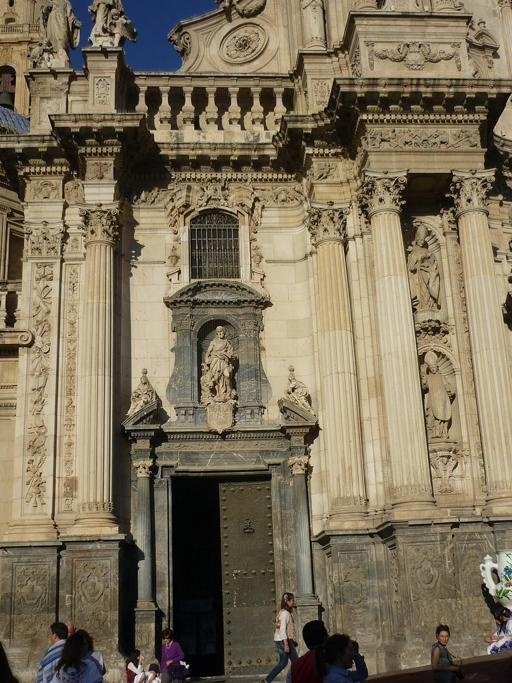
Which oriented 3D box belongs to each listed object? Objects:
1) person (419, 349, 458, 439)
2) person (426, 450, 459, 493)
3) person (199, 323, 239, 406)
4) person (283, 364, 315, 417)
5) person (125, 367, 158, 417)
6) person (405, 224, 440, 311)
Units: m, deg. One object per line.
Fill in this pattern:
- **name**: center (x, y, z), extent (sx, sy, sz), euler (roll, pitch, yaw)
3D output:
- **person**: center (4.176, 1.214, 20.541), extent (0.771, 2.101, 0.198), euler (-1, -18, -6)
- **person**: center (4.197, 2.876, 19.920), extent (0.652, 0.984, 0.159), euler (3, -19, -19)
- **person**: center (-0.858, 0.628, 20.987), extent (0.863, 1.834, 0.648), euler (0, -18, -9)
- **person**: center (0.986, 1.160, 20.869), extent (0.637, 1.308, 0.663), euler (-4, -18, 3)
- **person**: center (-2.522, 1.171, 20.250), extent (0.678, 1.287, 0.867), euler (-2, -18, -2)
- **person**: center (4.040, -1.753, 21.772), extent (0.752, 2.295, 0.379), euler (-2, -18, -3)
